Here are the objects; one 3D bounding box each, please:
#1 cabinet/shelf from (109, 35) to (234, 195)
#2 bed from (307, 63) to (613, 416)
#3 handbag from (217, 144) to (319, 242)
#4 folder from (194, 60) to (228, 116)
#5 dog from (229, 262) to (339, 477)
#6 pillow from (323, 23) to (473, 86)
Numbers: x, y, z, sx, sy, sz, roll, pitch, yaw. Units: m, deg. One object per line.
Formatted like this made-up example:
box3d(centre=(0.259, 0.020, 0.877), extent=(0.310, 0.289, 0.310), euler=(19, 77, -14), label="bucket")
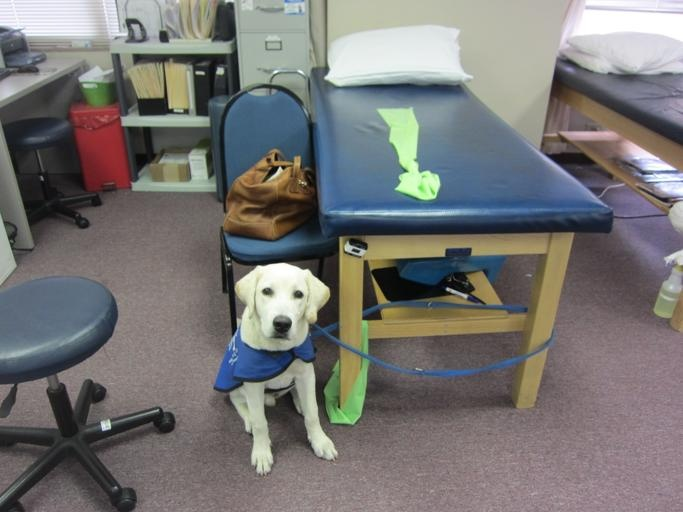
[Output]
box3d(centre=(-0.970, -1.161, 4.151), extent=(1.123, 1.234, 0.857), euler=(-2, 30, -7), label="cabinet/shelf")
box3d(centre=(0.318, -0.181, 2.792), extent=(1.127, 0.964, 1.567), euler=(-2, 36, -4), label="bed")
box3d(centre=(-0.308, -0.301, 2.569), extent=(0.340, 0.308, 0.468), euler=(25, 37, 33), label="handbag")
box3d(centre=(-0.822, -1.124, 3.827), extent=(0.301, 0.376, 0.396), euler=(0, 35, -9), label="folder")
box3d(centre=(-0.219, 0.399, 2.071), extent=(0.407, 0.750, 0.393), euler=(-11, 37, -13), label="dog")
box3d(centre=(0.340, -1.169, 3.300), extent=(0.603, 0.161, 0.522), euler=(-3, 32, -2), label="pillow")
